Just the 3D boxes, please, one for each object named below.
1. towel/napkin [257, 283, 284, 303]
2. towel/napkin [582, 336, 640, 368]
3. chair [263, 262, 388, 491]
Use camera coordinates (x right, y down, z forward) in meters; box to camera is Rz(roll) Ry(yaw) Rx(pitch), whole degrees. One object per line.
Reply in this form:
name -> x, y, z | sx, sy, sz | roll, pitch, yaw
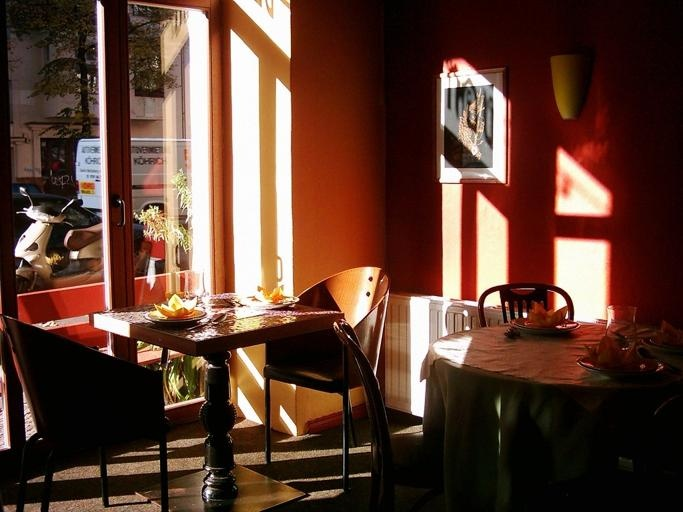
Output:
towel/napkin -> -0.394, 0.211, 3.318 | 0.122, 0.072, 0.098 | 14, 6, 18
towel/napkin -> 1.002, 0.368, 2.335 | 0.207, 0.105, 0.216 | -4, 11, 39
chair -> -0.024, 0.626, 3.451 | 0.695, 1.134, 0.655 | 1, 2, -32
